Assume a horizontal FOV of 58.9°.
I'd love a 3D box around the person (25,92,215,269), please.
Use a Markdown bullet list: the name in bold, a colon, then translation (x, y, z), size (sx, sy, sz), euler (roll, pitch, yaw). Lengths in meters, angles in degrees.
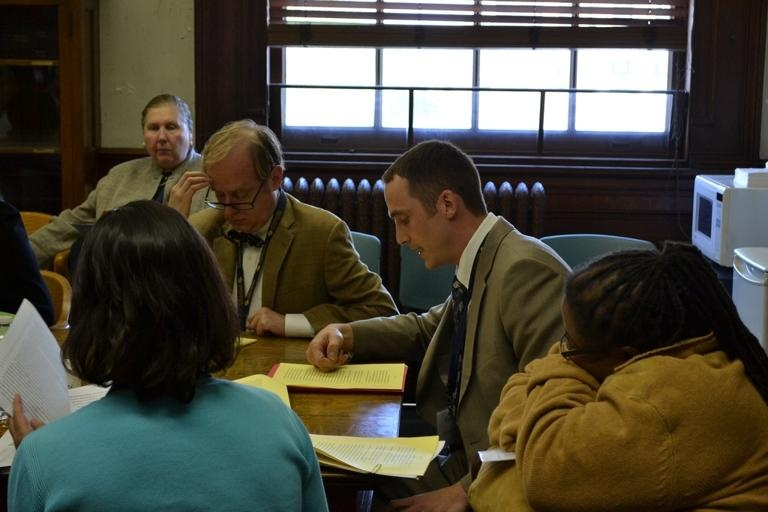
- **person**: translation (-1.214, -0.381, 3.668), size (1.238, 0.953, 0.652), euler (3, 5, 7)
